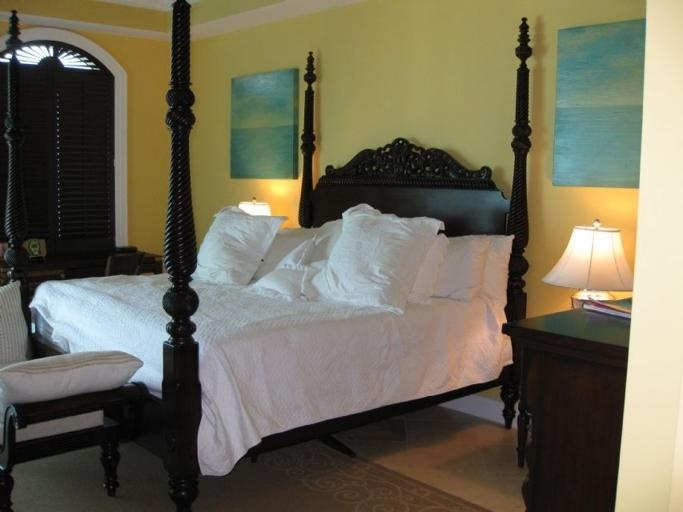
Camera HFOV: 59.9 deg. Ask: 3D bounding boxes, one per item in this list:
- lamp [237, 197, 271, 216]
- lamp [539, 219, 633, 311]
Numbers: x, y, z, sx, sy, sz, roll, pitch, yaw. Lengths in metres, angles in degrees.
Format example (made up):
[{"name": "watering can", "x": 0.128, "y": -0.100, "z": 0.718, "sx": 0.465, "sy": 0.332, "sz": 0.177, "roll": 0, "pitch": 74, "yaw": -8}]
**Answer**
[{"name": "lamp", "x": -0.787, "y": -0.441, "z": 5.358, "sx": 0.265, "sy": 0.199, "sz": 0.264, "roll": -5, "pitch": 8, "yaw": -41}, {"name": "lamp", "x": 1.379, "y": 0.048, "z": 3.456, "sx": 0.511, "sy": 0.597, "sz": 0.532, "roll": 1, "pitch": 0, "yaw": -41}]
